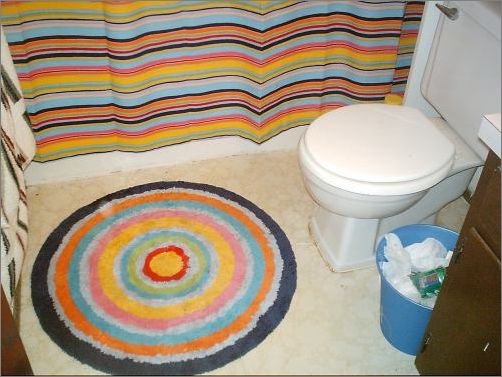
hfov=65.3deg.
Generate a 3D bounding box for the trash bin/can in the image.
[{"bbox_3d":[0.514,0.314,1.192,0.244,0.268,0.260,-19,46,-14],"label":"trash bin/can"}]

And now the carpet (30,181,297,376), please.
[{"bbox_3d":[-0.341,0.304,1.545,1.044,0.022,0.849,7,45,7],"label":"carpet"}]

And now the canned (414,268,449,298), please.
[{"bbox_3d":[0.559,0.290,1.213,0.034,0.108,0.092,22,60,-27],"label":"canned"}]
